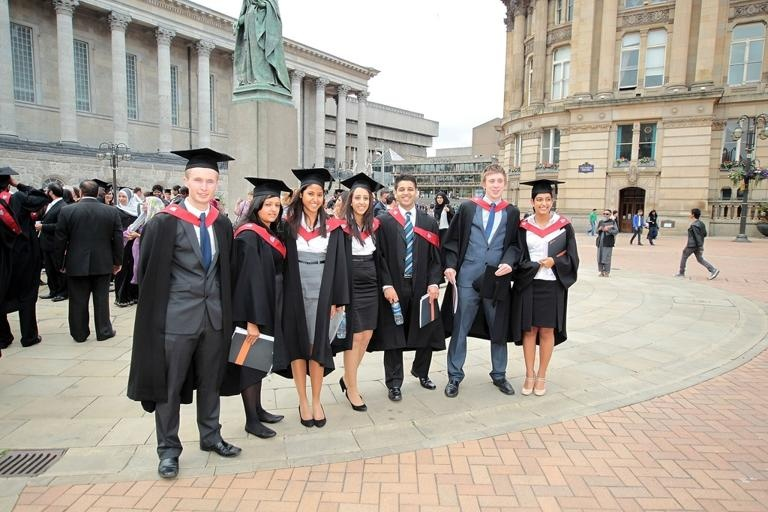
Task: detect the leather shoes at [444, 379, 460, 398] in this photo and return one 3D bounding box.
[{"bbox_3d":[1.080,2.098,8.672,0.237,0.235,0.235,0,8,0],"label":"leather shoes"}]

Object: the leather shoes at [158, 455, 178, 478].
[{"bbox_3d":[-2.782,2.737,7.062,0.168,0.122,0.325,2,0,-22],"label":"leather shoes"}]

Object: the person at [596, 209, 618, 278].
[{"bbox_3d":[7.218,-0.452,17.713,0.532,2.060,1.326,3,9,22],"label":"person"}]

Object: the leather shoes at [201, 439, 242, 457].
[{"bbox_3d":[-2.147,2.575,7.410,0.604,0.210,0.209,5,5,10],"label":"leather shoes"}]

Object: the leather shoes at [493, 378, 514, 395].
[{"bbox_3d":[1.945,2.101,8.804,0.151,0.136,0.392,-5,4,-22],"label":"leather shoes"}]

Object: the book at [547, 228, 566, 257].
[{"bbox_3d":[2.743,-0.190,8.637,0.355,0.322,0.093,-7,8,-30],"label":"book"}]

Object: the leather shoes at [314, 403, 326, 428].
[{"bbox_3d":[-0.939,2.335,7.946,0.147,0.375,0.118,-12,-14,-9],"label":"leather shoes"}]

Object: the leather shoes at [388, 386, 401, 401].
[{"bbox_3d":[0.174,2.152,8.549,0.202,0.191,0.203,0,8,2],"label":"leather shoes"}]

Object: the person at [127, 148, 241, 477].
[{"bbox_3d":[-2.632,0.705,7.144,1.299,4.155,0.815,-3,8,-15],"label":"person"}]

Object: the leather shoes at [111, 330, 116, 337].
[{"bbox_3d":[-5.261,1.503,10.644,0.059,0.110,0.169,7,26,-2],"label":"leather shoes"}]

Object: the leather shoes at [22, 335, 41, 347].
[{"bbox_3d":[-6.460,1.562,10.091,0.221,0.107,0.319,-2,18,33],"label":"leather shoes"}]

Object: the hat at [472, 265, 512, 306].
[{"bbox_3d":[1.725,0.467,8.456,0.608,0.564,0.216,14,17,-3],"label":"hat"}]

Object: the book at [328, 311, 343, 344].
[{"bbox_3d":[-0.676,1.031,7.920,0.120,0.278,0.386,19,34,3],"label":"book"}]

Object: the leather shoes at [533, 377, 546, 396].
[{"bbox_3d":[2.456,2.058,8.620,0.121,0.127,0.336,-3,36,13],"label":"leather shoes"}]

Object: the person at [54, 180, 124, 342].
[{"bbox_3d":[-5.581,0.064,10.511,0.935,3.018,1.083,8,11,44],"label":"person"}]

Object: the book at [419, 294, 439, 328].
[{"bbox_3d":[0.721,0.859,8.570,0.356,0.543,0.251,-2,8,-11],"label":"book"}]

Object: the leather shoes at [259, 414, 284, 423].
[{"bbox_3d":[-1.629,2.365,7.969,0.363,0.093,0.125,-3,3,2],"label":"leather shoes"}]

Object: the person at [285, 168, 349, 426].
[{"bbox_3d":[-0.984,0.585,7.956,0.950,3.713,0.771,-2,8,-9],"label":"person"}]

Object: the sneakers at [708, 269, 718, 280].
[{"bbox_3d":[10.184,0.570,16.886,0.213,0.246,0.578,-43,-9,6],"label":"sneakers"}]

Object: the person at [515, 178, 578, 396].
[{"bbox_3d":[2.549,0.486,8.685,0.981,3.396,0.661,0,8,1],"label":"person"}]

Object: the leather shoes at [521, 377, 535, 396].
[{"bbox_3d":[2.297,2.075,8.657,0.130,0.141,0.381,0,4,25],"label":"leather shoes"}]

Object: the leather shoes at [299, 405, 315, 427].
[{"bbox_3d":[-1.136,2.326,7.924,0.287,0.268,0.139,6,10,38],"label":"leather shoes"}]
